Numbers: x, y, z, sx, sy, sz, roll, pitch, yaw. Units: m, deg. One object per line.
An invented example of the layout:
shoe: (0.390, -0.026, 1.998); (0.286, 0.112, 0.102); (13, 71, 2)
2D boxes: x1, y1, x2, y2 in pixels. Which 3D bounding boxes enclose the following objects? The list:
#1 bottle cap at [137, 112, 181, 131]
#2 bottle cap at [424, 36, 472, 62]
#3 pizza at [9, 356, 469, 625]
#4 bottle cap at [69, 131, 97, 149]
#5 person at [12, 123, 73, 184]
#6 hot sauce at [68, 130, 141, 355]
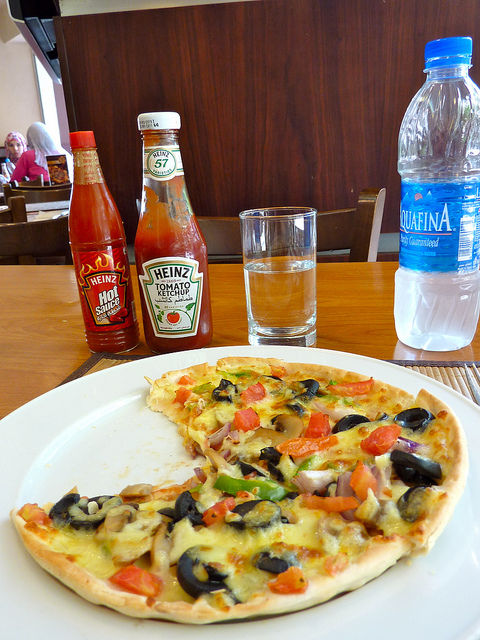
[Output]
bottle cap: (-0.162, -0.398, 1.053); (0.079, 0.036, 0.078); (-14, 27, -16)
bottle cap: (0.414, -0.537, 1.037); (0.086, 0.035, 0.073); (-3, 26, 6)
pizza: (0.024, 0.212, 0.827); (0.605, 0.108, 0.644); (8, 29, 26)
bottle cap: (-0.335, -0.391, 1.128); (0.044, 0.028, 0.045); (17, 29, 32)
person: (-3.273, -2.732, 8.777); (1.078, 1.052, 0.578); (-19, 44, -26)
hot sauce: (-0.303, -0.170, 1.267); (0.170, 0.532, 0.150); (-12, 22, -19)
